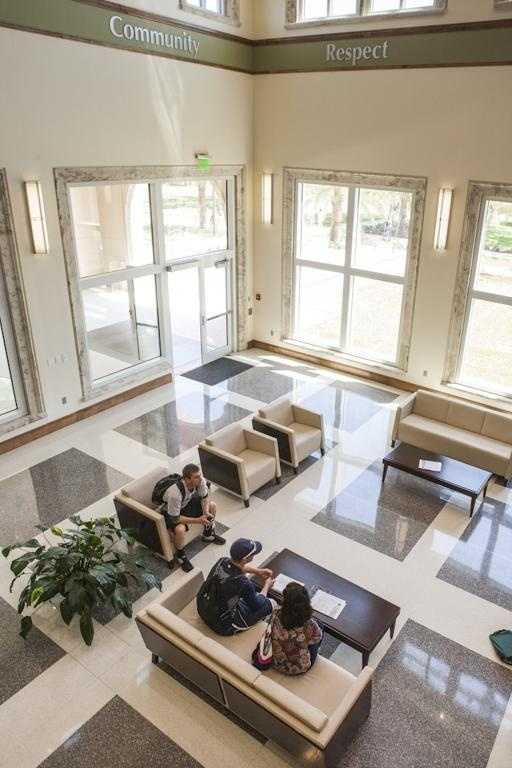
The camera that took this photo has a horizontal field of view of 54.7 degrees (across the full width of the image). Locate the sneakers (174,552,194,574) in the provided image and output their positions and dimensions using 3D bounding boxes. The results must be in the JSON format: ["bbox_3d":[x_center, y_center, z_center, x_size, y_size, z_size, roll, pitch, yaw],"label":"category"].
[{"bbox_3d":[-0.718,1.774,4.942,0.120,0.116,0.282,-10,23,-33],"label":"sneakers"}]

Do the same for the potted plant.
[{"bbox_3d":[-1.552,1.631,4.536,1.125,0.680,1.208,3,31,-9],"label":"potted plant"}]

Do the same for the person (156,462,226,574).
[{"bbox_3d":[-0.655,1.254,5.037,0.634,1.032,0.665,-14,31,-29],"label":"person"}]

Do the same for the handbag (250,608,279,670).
[{"bbox_3d":[0.083,1.711,3.295,0.140,0.383,0.287,14,20,14],"label":"handbag"}]

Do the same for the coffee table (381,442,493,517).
[{"bbox_3d":[2.211,1.177,6.170,1.198,0.482,0.674,14,26,40],"label":"coffee table"}]

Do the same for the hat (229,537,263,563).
[{"bbox_3d":[-0.070,1.182,3.572,0.149,0.141,0.235,21,35,37],"label":"hat"}]

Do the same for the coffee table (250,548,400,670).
[{"bbox_3d":[0.680,1.744,3.962,1.224,0.449,0.567,22,37,35],"label":"coffee table"}]

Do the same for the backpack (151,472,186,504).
[{"bbox_3d":[-0.872,1.038,4.968,0.326,0.351,0.240,12,11,1],"label":"backpack"}]

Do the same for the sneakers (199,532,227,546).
[{"bbox_3d":[-0.469,1.646,5.278,0.235,0.167,0.107,-3,20,-1],"label":"sneakers"}]

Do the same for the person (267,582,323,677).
[{"bbox_3d":[0.249,1.619,3.311,0.314,0.746,0.407,2,16,14],"label":"person"}]
